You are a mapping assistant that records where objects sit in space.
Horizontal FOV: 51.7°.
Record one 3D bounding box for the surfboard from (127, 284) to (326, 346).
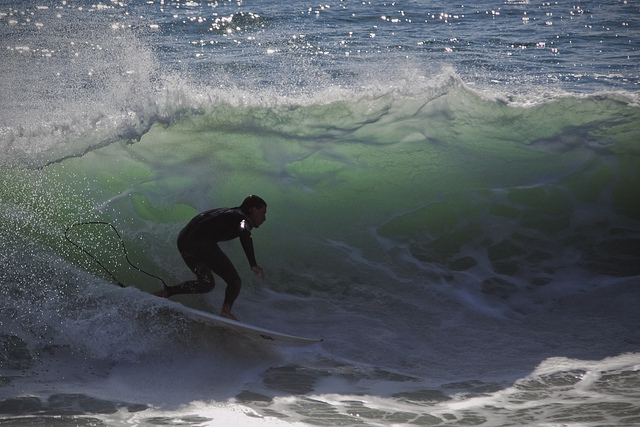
[{"bbox_3d":[-1.434,1.540,9.698,2.492,0.285,0.201,15,61,11],"label":"surfboard"}]
